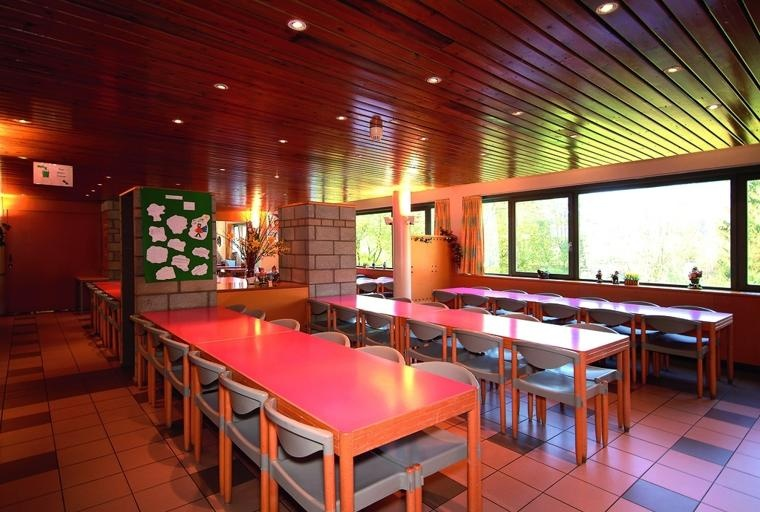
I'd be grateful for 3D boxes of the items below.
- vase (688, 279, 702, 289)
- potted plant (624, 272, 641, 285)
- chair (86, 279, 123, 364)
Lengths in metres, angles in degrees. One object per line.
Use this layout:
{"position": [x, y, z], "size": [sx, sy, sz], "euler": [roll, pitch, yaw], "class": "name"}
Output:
{"position": [4.802, 0.429, 7.359], "size": [0.172, 0.139, 0.179], "euler": [4, -4, -41], "class": "vase"}
{"position": [4.104, 0.376, 7.840], "size": [0.217, 0.224, 0.223], "euler": [1, 1, -6], "class": "potted plant"}
{"position": [-4.523, 1.102, 7.927], "size": [0.465, 0.587, 1.448], "euler": [-2, 4, -35], "class": "chair"}
